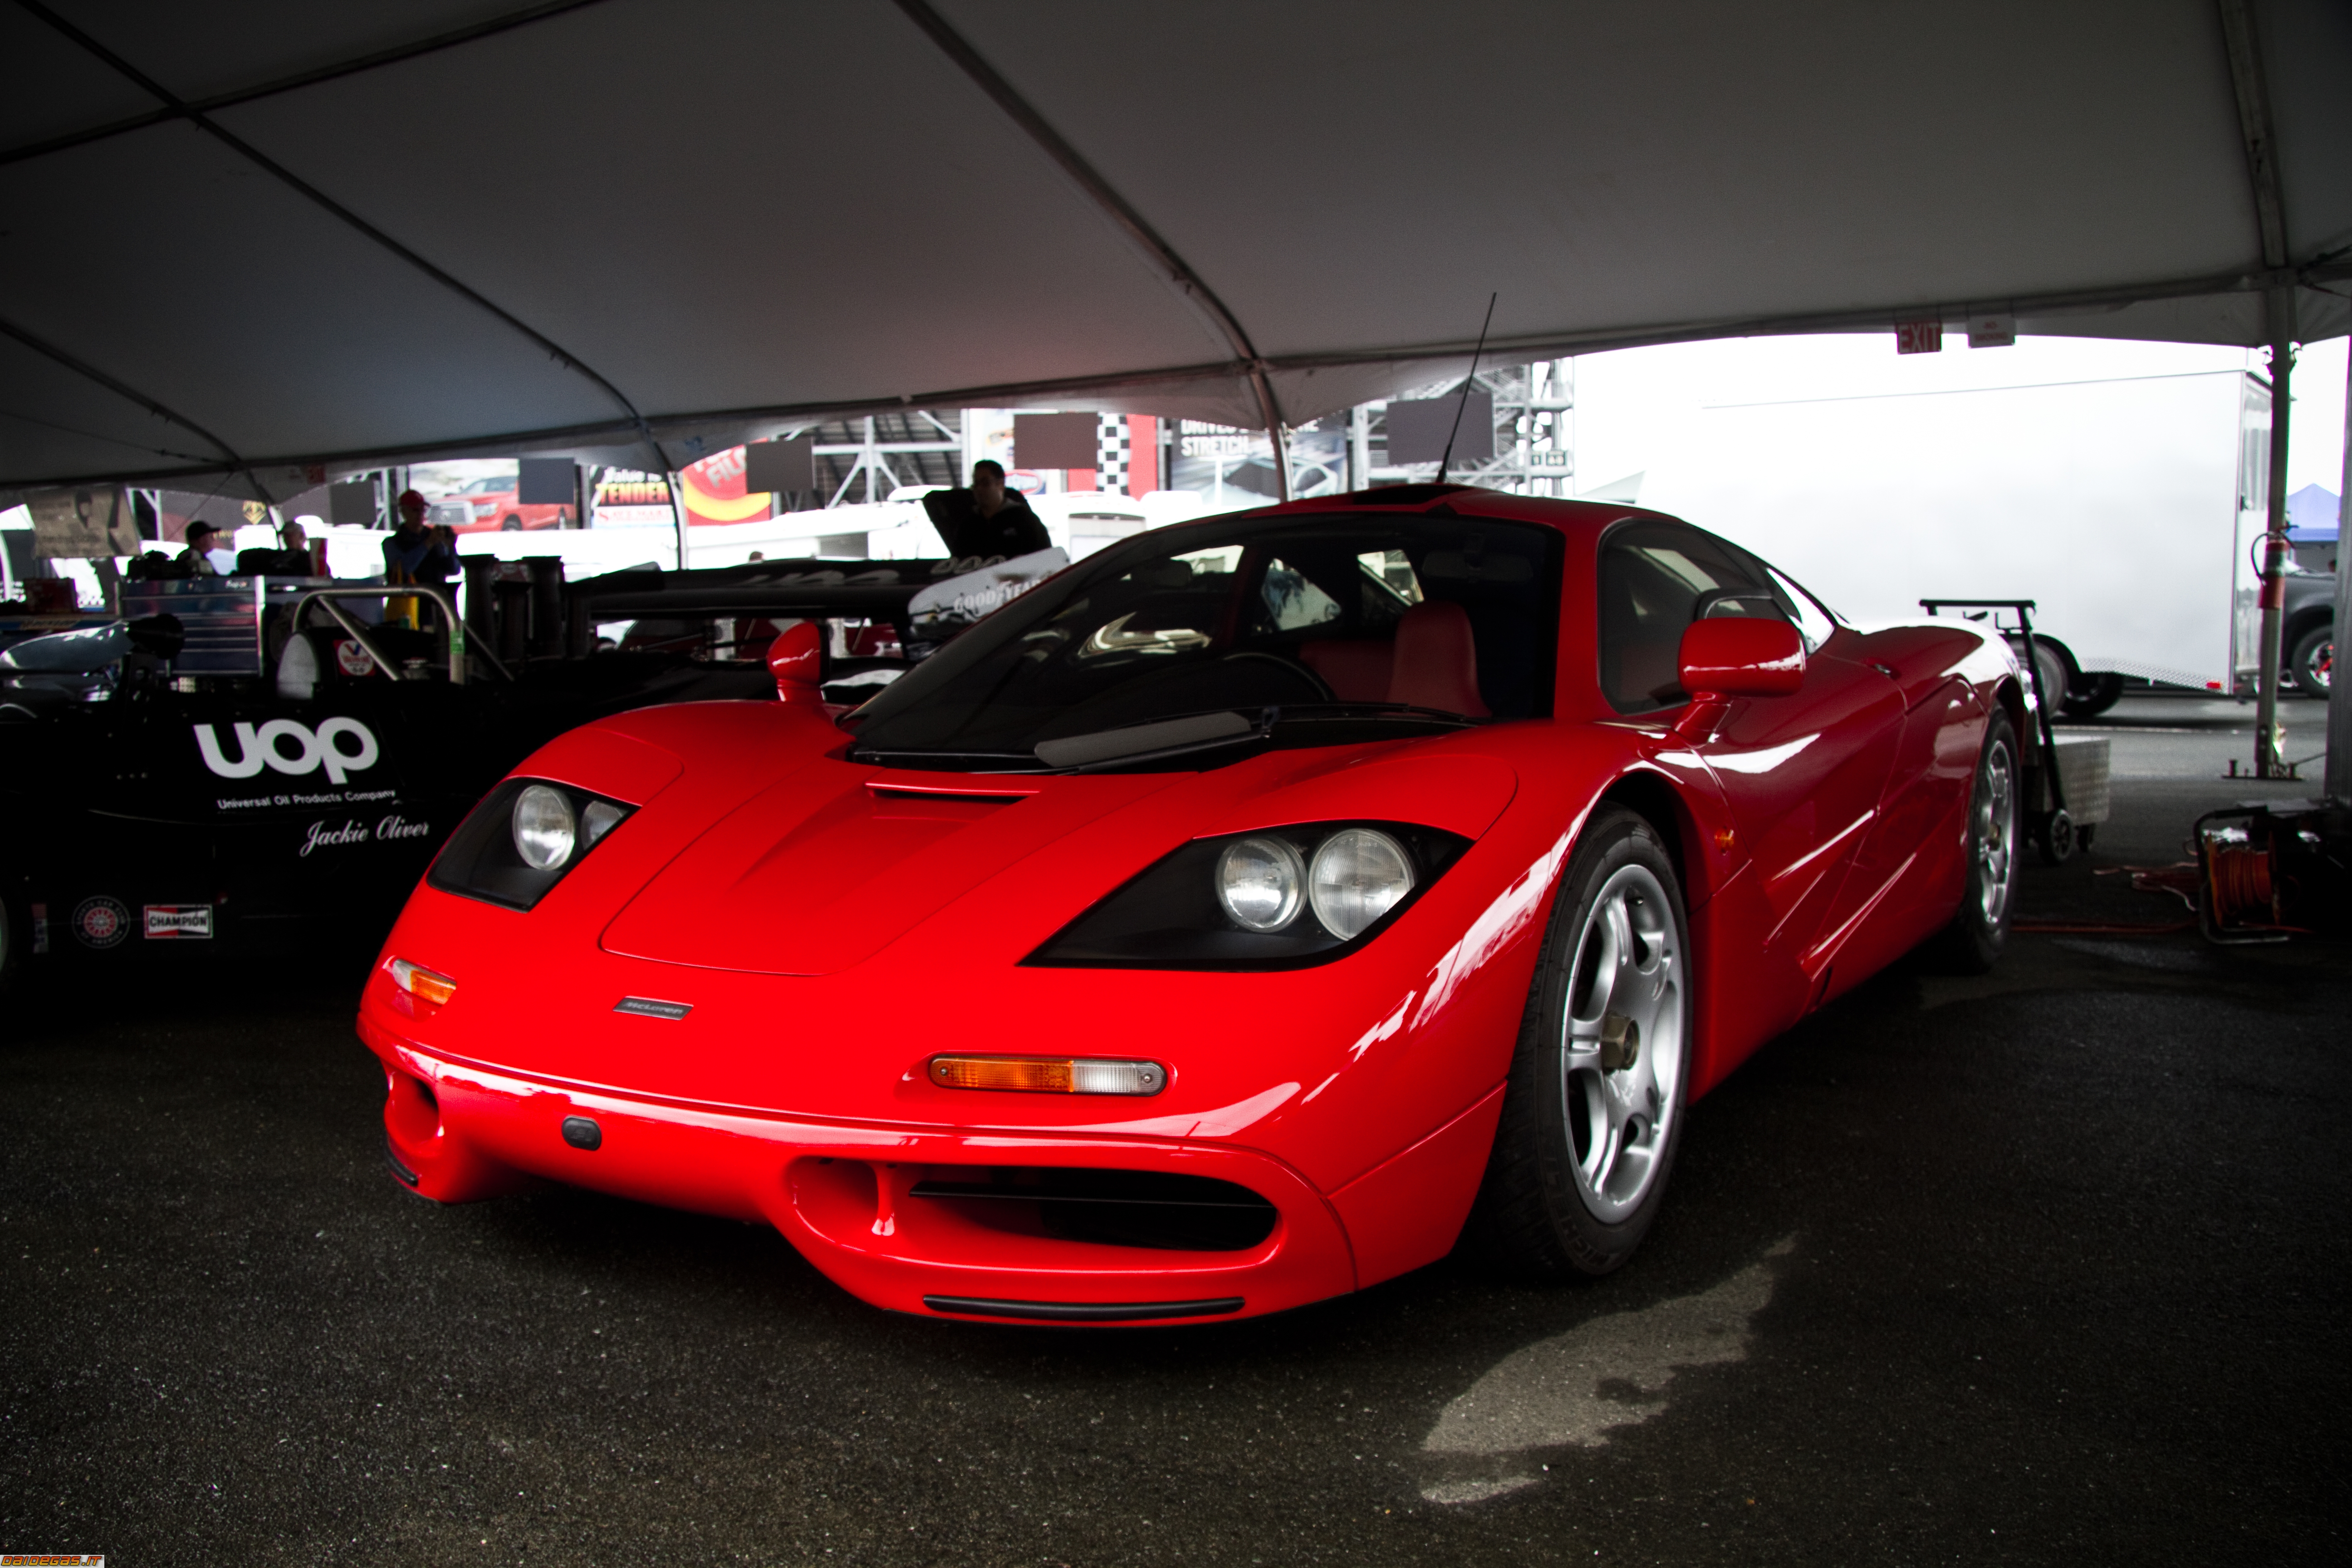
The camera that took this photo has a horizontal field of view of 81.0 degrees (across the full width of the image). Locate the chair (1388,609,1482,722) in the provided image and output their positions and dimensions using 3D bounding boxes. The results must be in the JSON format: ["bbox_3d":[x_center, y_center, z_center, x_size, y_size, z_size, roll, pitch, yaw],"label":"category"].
[{"bbox_3d":[0.506,-0.250,2.893,0.193,0.272,0.250,-3,3,36],"label":"chair"}]

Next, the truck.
[{"bbox_3d":[5.557,-1.926,9.489,3.853,1.785,1.961,5,14,29],"label":"truck"}]

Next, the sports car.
[{"bbox_3d":[0.519,0.195,3.127,1.736,0.970,3.165,-4,1,30],"label":"sports car"}]
